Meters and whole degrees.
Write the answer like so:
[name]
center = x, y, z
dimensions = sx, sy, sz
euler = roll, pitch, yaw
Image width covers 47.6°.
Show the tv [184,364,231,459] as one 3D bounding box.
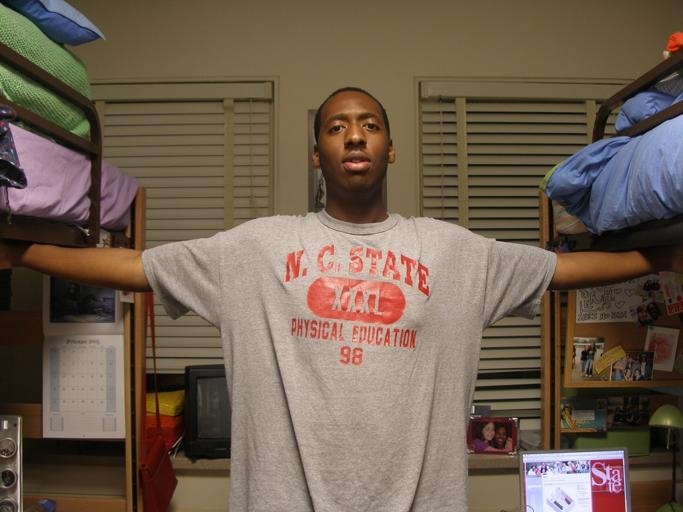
[tv]
center = -0.611, 0.780, 3.997
dimensions = 0.294, 0.486, 0.291
euler = 0, 9, 8
